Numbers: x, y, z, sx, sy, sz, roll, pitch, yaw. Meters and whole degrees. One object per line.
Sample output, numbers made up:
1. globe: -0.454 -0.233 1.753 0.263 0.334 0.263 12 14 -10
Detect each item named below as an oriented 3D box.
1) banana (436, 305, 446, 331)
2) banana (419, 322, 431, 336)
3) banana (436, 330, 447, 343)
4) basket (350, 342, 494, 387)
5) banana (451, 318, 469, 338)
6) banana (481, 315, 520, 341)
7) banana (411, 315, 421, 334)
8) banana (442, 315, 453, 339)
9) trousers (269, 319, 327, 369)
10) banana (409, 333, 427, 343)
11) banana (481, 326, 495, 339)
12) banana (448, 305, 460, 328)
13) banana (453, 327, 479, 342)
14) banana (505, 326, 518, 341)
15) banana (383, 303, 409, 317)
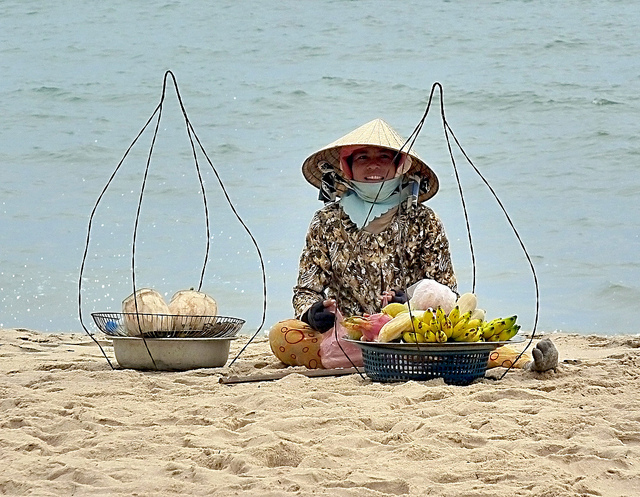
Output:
1. banana: 1.385 0.833 19.794 0.093 0.276 0.101 -6 -11 2
2. banana: 1.183 0.950 19.807 0.060 0.209 0.074 -36 7 -8
3. banana: 1.393 1.047 19.788 0.112 0.139 0.048 -18 12 -12
4. basket: 1.216 1.380 19.895 1.228 0.328 0.910 -11 10 -40
5. banana: 1.610 0.956 19.845 0.095 0.296 0.107 44 7 8
6. banana: 2.073 0.958 20.010 0.458 0.229 0.142 -28 15 3
7. banana: 1.094 0.909 19.774 0.058 0.193 0.072 -13 -6 7
8. banana: 1.461 0.939 19.843 0.089 0.264 0.097 -9 8 7
9. trousers: -0.260 1.149 20.693 0.731 0.551 0.848 6 13 42
10. banana: 1.121 1.072 19.805 0.241 0.069 0.083 30 5 10
11. banana: 1.951 1.006 19.910 0.071 0.128 0.201 25 22 0
12. banana: 1.542 0.822 19.864 0.085 0.251 0.085 11 -9 -5
13. banana: 1.702 1.031 19.857 0.357 0.095 0.118 -31 6 1
14. banana: 2.232 1.030 19.988 0.076 0.219 0.061 48 8 15
15. banana: 0.879 0.738 20.010 0.212 0.121 0.145 4 38 -2
